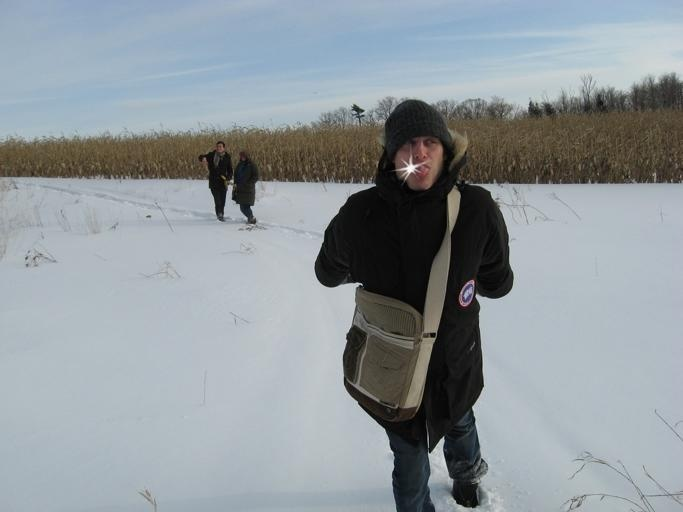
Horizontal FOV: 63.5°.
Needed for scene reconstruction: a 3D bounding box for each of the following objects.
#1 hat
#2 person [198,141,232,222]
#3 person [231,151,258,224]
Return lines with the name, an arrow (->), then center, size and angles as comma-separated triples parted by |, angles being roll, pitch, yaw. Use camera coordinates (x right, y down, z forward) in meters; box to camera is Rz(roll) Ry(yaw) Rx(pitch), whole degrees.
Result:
hat -> 0.508, -0.855, 3.657 | 0.446, 0.365, 0.197 | -2, 14, 12
person -> -2.457, -1.538, 11.245 | 0.513, 1.517, 0.571 | -14, 17, -36
person -> -1.863, -1.339, 10.616 | 0.528, 1.259, 1.034 | -6, 15, -7
